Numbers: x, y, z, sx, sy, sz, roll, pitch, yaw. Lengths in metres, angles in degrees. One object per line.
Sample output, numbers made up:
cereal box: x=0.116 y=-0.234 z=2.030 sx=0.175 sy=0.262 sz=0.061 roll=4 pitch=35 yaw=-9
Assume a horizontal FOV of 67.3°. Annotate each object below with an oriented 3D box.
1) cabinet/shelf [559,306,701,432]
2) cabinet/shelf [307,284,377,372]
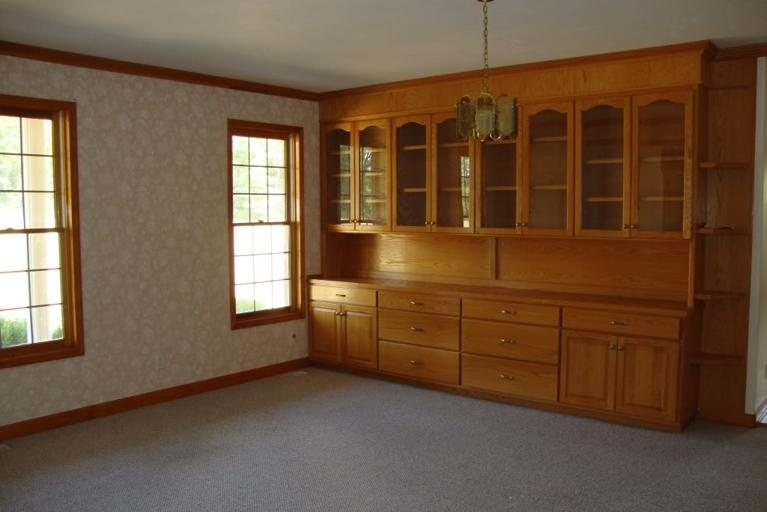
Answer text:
cabinet/shelf: x=2.208 y=1.005 z=5.091 sx=1.149 sy=1.023 sz=0.491 roll=1 pitch=0 yaw=30
cabinet/shelf: x=-0.433 y=0.799 z=6.449 sx=1.039 sy=0.923 sz=0.402 roll=1 pitch=2 yaw=31
